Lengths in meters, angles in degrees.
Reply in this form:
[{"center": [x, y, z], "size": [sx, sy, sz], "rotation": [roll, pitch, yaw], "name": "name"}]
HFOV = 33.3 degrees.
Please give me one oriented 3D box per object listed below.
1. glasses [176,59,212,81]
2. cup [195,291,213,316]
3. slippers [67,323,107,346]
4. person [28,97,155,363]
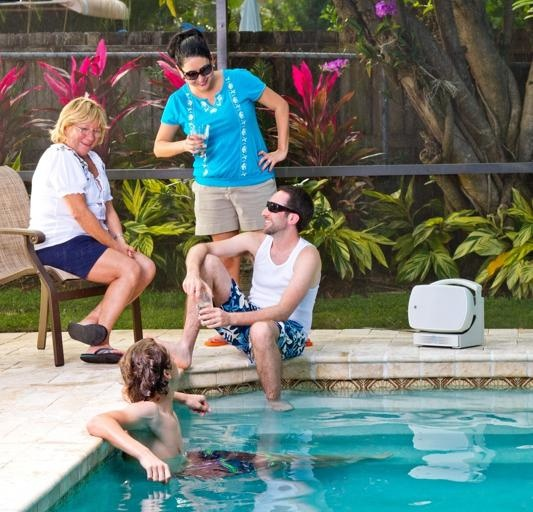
[{"center": [-0.427, -1.115, 5.407], "size": [0.188, 0.121, 0.138], "rotation": [4, 7, -8], "name": "glasses"}, {"center": [-0.324, 0.233, 4.617], "size": [0.097, 0.097, 0.099], "rotation": [0, -9, 0], "name": "cup"}, {"center": [-1.014, 0.436, 5.084], "size": [0.215, 0.103, 0.065], "rotation": [18, 11, -3], "name": "slippers"}, {"center": [-1.062, -0.161, 5.336], "size": [0.765, 1.535, 0.650], "rotation": [8, 8, 19], "name": "person"}]
